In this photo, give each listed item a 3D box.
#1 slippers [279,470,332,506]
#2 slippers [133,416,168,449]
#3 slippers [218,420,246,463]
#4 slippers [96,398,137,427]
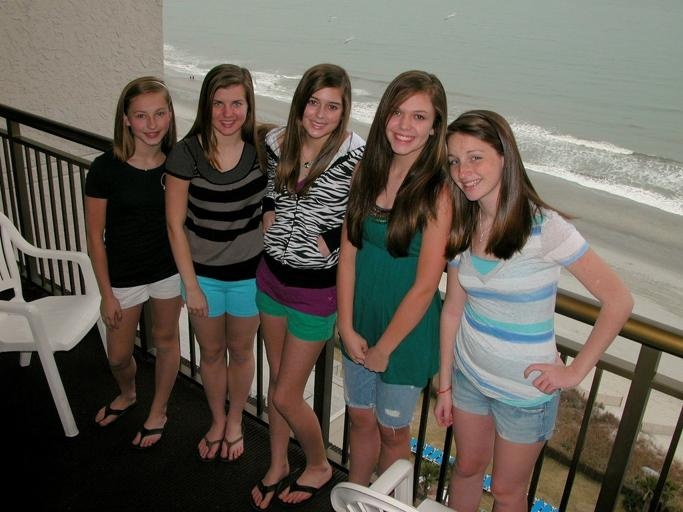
[{"bbox_3d":[-0.191,1.148,2.314,0.238,0.054,0.111,-27,44,-28],"label":"slippers"},{"bbox_3d":[-1.048,0.965,2.545,0.079,0.041,0.177,11,31,11],"label":"slippers"},{"bbox_3d":[-0.589,0.999,2.539,0.084,0.211,0.049,0,-16,-3],"label":"slippers"},{"bbox_3d":[-1.312,0.892,2.697,0.089,0.043,0.184,23,36,28],"label":"slippers"}]
